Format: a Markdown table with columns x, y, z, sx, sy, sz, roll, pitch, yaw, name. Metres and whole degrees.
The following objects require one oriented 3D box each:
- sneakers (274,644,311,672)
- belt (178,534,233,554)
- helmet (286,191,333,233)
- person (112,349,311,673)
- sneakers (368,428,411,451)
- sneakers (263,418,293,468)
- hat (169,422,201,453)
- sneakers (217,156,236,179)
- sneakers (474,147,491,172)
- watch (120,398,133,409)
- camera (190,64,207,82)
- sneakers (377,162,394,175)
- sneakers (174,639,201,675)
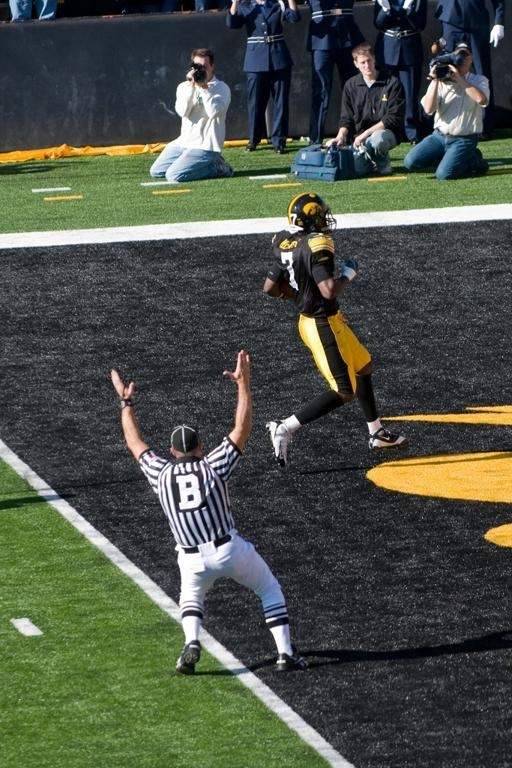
| x | y | z | sx | sy | sz | roll | pitch | yaw | name |
| --- | --- | --- | --- | --- | --- | --- | --- | --- | --- |
| 0.128 | 1.056 | 5.998 | 0.152 | 0.081 | 0.053 | 1 | 3 | -44 | sneakers |
| -0.196 | 0.605 | 5.878 | 0.190 | 0.078 | 0.042 | 0 | 16 | 5 | belt |
| 0.270 | -0.852 | 7.890 | 0.201 | 0.220 | 0.297 | 4 | 18 | 16 | helmet |
| -0.181 | 0.491 | 6.088 | 0.542 | 1.122 | 0.791 | -7 | 18 | -19 | person |
| 0.680 | 0.297 | 8.265 | 0.220 | 0.118 | 0.089 | -7 | 28 | -18 | sneakers |
| 0.100 | 0.289 | 7.900 | 0.115 | 0.278 | 0.089 | -13 | 17 | 4 | sneakers |
| -0.280 | 0.211 | 5.978 | 0.077 | 0.068 | 0.111 | 0 | 31 | 1 | hat |
| -0.339 | -2.248 | 16.317 | 0.143 | 0.107 | 0.248 | 8 | -20 | 27 | sneakers |
| 2.233 | -2.193 | 15.573 | 0.098 | 0.271 | 0.171 | -15 | 23 | -9 | sneakers |
| -0.533 | 0.089 | 6.257 | 0.041 | 0.034 | 0.044 | 2 | 13 | -2 | watch |
| -0.565 | -2.995 | 15.143 | 0.117 | 0.153 | 0.147 | 2 | 50 | -2 | camera |
| 1.306 | -2.228 | 16.157 | 0.144 | 0.158 | 0.436 | 1 | 18 | 6 | sneakers |
| -0.273 | 1.044 | 5.944 | 0.060 | 0.172 | 0.083 | 16 | 44 | 4 | sneakers |
